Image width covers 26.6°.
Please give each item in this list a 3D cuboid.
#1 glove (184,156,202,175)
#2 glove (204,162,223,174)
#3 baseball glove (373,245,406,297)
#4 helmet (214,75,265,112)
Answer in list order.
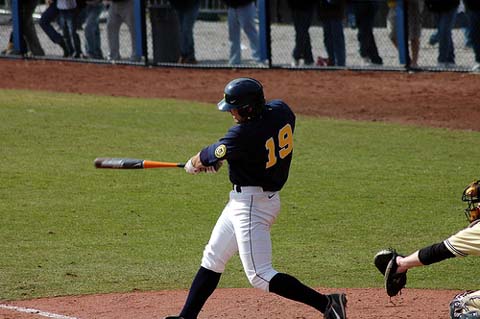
[{"bbox_3d":[-0.701,0.091,15.092,0.100,0.268,0.199,34,47,5],"label":"glove"},{"bbox_3d":[-0.389,0.100,15.041,0.210,0.088,0.156,-24,7,-8],"label":"glove"},{"bbox_3d":[2.246,1.625,15.279,0.333,0.771,0.419,4,5,41],"label":"baseball glove"},{"bbox_3d":[-0.003,-0.950,14.920,0.614,0.325,0.442,-3,23,4],"label":"helmet"}]
